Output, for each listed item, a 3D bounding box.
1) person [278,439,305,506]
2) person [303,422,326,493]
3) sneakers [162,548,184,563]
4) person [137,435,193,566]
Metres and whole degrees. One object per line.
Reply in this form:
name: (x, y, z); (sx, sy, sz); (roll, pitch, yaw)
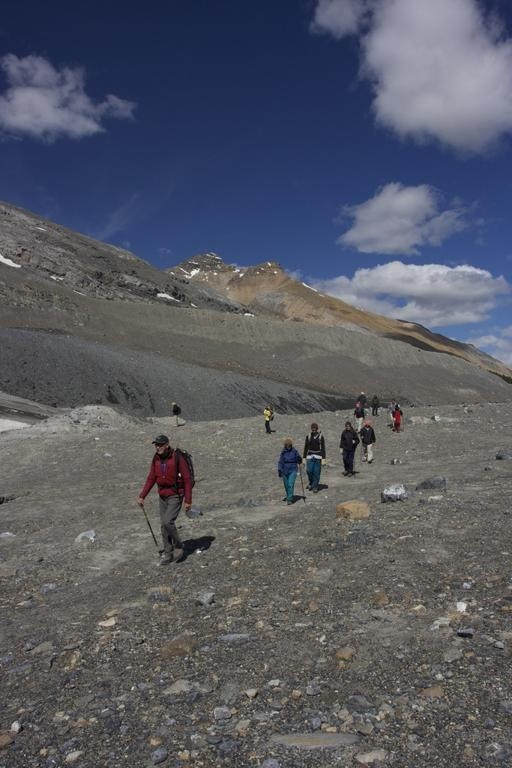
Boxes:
person: (0.784, 1.892, 11.437); (0.495, 1.586, 1.824); (-6, 4, 2)
person: (1.372, 1.761, 11.899); (0.499, 1.781, 1.450); (-6, 5, 6)
sneakers: (-1.221, 2.531, 7.366); (0.313, 0.136, 0.270); (-8, 4, -7)
person: (-1.301, 1.698, 7.461); (0.803, 1.263, 0.746); (-6, 5, 5)
